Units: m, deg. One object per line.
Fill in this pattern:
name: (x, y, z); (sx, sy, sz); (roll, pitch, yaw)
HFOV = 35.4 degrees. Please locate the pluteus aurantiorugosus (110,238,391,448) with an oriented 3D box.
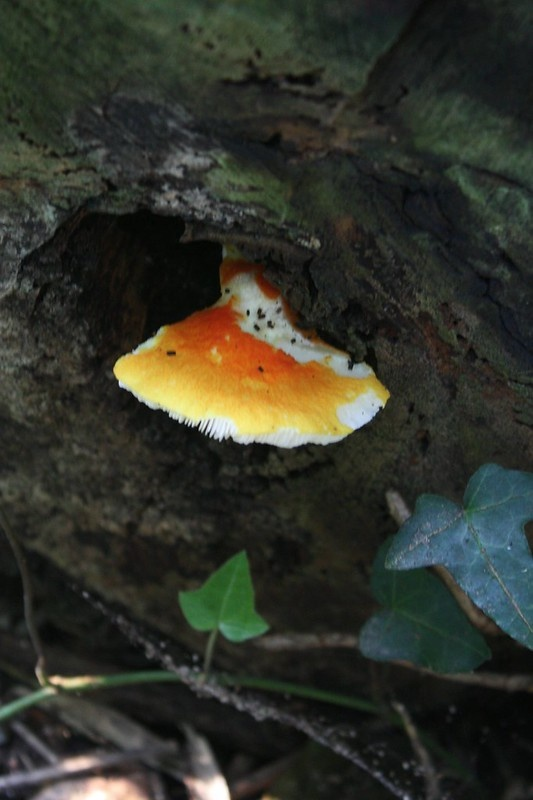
pluteus aurantiorugosus: (-0.027, -0.185, 1.778); (0.413, 0.239, 0.503); (6, 27, -19)
